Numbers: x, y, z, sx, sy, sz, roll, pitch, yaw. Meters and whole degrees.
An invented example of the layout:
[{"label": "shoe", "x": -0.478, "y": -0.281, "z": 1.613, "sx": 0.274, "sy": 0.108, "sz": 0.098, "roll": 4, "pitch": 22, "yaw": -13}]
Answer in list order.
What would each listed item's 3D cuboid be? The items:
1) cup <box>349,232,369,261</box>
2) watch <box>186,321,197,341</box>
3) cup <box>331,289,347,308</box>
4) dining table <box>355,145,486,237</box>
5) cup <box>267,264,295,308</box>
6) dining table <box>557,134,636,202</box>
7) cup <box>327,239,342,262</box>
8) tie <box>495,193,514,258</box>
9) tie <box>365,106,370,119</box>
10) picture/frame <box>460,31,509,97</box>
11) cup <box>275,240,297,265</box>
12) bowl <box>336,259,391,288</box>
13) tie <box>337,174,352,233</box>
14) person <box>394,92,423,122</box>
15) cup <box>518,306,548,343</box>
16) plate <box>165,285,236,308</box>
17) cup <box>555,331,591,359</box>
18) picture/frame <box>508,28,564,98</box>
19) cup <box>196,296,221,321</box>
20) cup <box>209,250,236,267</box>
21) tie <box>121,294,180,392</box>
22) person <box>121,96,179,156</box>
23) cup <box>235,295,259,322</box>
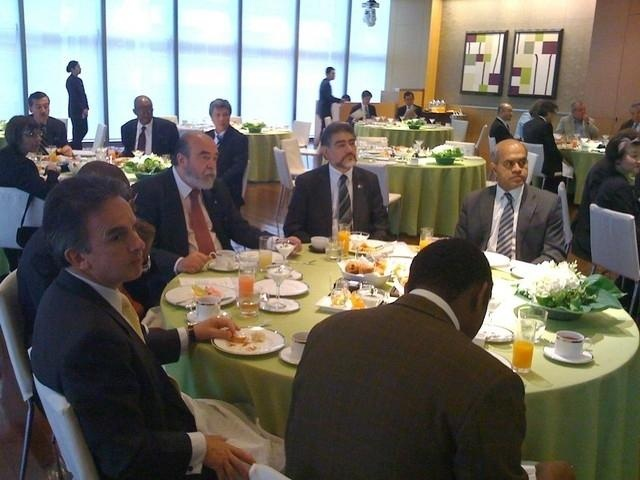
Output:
[{"label": "cup", "x": 0.210, "y": 0.032, "z": 2.804, "sx": 0.110, "sy": 0.137, "sz": 0.116, "roll": 2, "pitch": 22, "yaw": -1}, {"label": "watch", "x": -0.481, "y": 0.345, "z": 1.980, "sx": 0.035, "sy": 0.062, "sz": 0.062, "roll": 3, "pitch": -5, "yaw": -5}, {"label": "cup", "x": 0.076, "y": 0.235, "z": 2.187, "sx": 0.060, "sy": 0.063, "sz": 0.062, "roll": 0, "pitch": 13, "yaw": 0}, {"label": "dining table", "x": 1.194, "y": -0.461, "z": 5.690, "sx": 0.942, "sy": 0.524, "sz": 0.982, "roll": 1, "pitch": 20, "yaw": 3}, {"label": "cup", "x": -0.173, "y": 0.186, "z": 2.234, "sx": 0.139, "sy": 0.179, "sz": 0.145, "roll": 2, "pitch": 13, "yaw": -1}, {"label": "dining table", "x": 3.726, "y": -1.002, "z": 7.219, "sx": 0.971, "sy": 0.764, "sz": 1.007, "roll": 12, "pitch": 41, "yaw": 25}, {"label": "cup", "x": 0.075, "y": 0.053, "z": 2.810, "sx": 0.093, "sy": 0.109, "sz": 0.096, "roll": 2, "pitch": 20, "yaw": -1}, {"label": "tie", "x": 1.162, "y": -0.116, "z": 3.289, "sx": 0.109, "sy": 0.505, "sz": 0.055, "roll": 2, "pitch": -27, "yaw": 22}, {"label": "tie", "x": 0.936, "y": -2.459, "z": 10.100, "sx": 0.119, "sy": 0.170, "sz": 0.045, "roll": -3, "pitch": 5, "yaw": -41}, {"label": "picture/frame", "x": 3.615, "y": -3.844, "z": 11.337, "sx": 0.146, "sy": 1.541, "sz": 1.263, "roll": -11, "pitch": 21, "yaw": -36}, {"label": "cup", "x": -0.174, "y": 0.049, "z": 2.690, "sx": 0.107, "sy": 0.140, "sz": 0.116, "roll": 2, "pitch": 36, "yaw": -2}, {"label": "bowl", "x": 0.201, "y": 0.154, "z": 2.415, "sx": 0.162, "sy": 0.060, "sz": 0.144, "roll": 12, "pitch": 15, "yaw": 35}, {"label": "tie", "x": 0.171, "y": -0.281, "z": 3.544, "sx": 0.100, "sy": 0.325, "sz": 0.103, "roll": 1, "pitch": 10, "yaw": 2}, {"label": "person", "x": 1.701, "y": -2.577, "z": 10.021, "sx": 0.547, "sy": 0.591, "sz": 0.996, "roll": 3, "pitch": 11, "yaw": 11}, {"label": "cup", "x": 0.771, "y": 0.308, "z": 1.892, "sx": 0.101, "sy": 0.129, "sz": 0.120, "roll": 0, "pitch": 14, "yaw": 5}, {"label": "plate", "x": -0.549, "y": 0.248, "z": 2.287, "sx": 0.150, "sy": 0.023, "sz": 0.154, "roll": 8, "pitch": 19, "yaw": 13}, {"label": "cup", "x": 0.909, "y": 0.372, "z": 1.878, "sx": 0.101, "sy": 0.075, "sz": 0.077, "roll": -2, "pitch": 4, "yaw": -30}, {"label": "picture/frame", "x": 4.390, "y": -3.585, "z": 10.517, "sx": 0.149, "sy": 1.598, "sz": 1.246, "roll": -8, "pitch": 17, "yaw": -39}, {"label": "cup", "x": -0.445, "y": 0.261, "z": 2.116, "sx": 0.099, "sy": 0.078, "sz": 0.076, "roll": -10, "pitch": 25, "yaw": -27}, {"label": "cup", "x": -0.492, "y": 0.090, "z": 2.631, "sx": 0.101, "sy": 0.077, "sz": 0.080, "roll": 0, "pitch": 7, "yaw": 3}, {"label": "tie", "x": -0.602, "y": 0.372, "z": 1.877, "sx": 0.182, "sy": 0.313, "sz": 0.179, "roll": -23, "pitch": 52, "yaw": -22}, {"label": "person", "x": -2.028, "y": -1.243, "z": 6.062, "sx": 0.711, "sy": 0.838, "sz": 0.499, "roll": 2, "pitch": 30, "yaw": -7}, {"label": "cup", "x": -0.296, "y": 0.280, "z": 2.160, "sx": 0.093, "sy": 0.110, "sz": 0.095, "roll": 0, "pitch": 13, "yaw": 0}]
